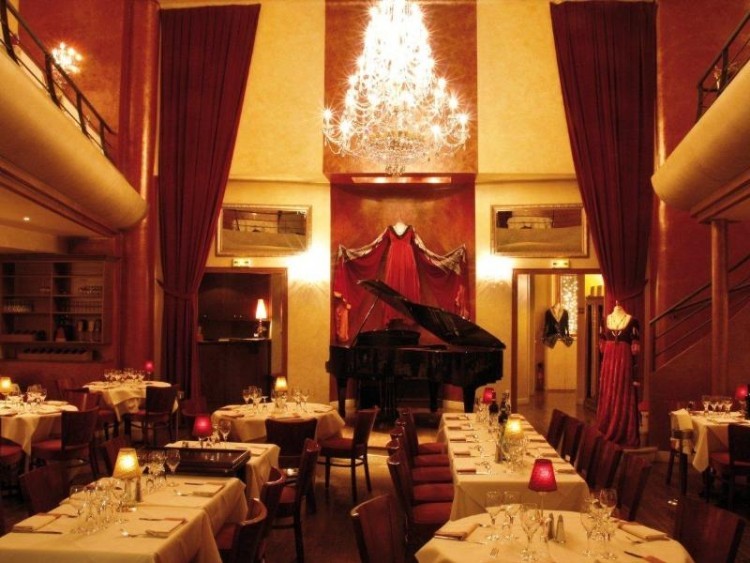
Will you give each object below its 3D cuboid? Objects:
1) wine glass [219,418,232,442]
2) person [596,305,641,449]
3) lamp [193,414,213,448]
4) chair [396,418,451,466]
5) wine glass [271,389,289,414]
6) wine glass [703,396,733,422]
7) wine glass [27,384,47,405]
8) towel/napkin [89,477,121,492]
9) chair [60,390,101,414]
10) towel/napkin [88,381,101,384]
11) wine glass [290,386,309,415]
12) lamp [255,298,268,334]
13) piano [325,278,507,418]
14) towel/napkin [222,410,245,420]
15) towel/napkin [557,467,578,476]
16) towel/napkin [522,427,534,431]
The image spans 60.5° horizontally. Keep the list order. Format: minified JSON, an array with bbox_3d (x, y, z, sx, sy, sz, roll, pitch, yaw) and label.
[{"bbox_3d":[-1.507,1.493,6.424,0.102,0.212,0.510,1,-12,-13],"label":"wine glass"},{"bbox_3d":[4.079,1.583,10.804,0.771,2.343,0.530,-6,-10,31],"label":"person"},{"bbox_3d":[-1.626,1.417,6.065,0.168,0.296,0.376,2,-11,-15],"label":"lamp"},{"bbox_3d":[0.518,1.819,7.346,0.481,0.873,0.489,-2,3,6],"label":"chair"},{"bbox_3d":[-1.167,1.536,8.142,0.222,0.394,0.239,2,-4,-2],"label":"wine glass"},{"bbox_3d":[4.259,1.595,7.983,0.326,0.129,0.263,-6,1,-6],"label":"wine glass"},{"bbox_3d":[-4.435,1.466,8.373,0.251,0.278,0.269,1,-1,-6],"label":"wine glass"},{"bbox_3d":[-2.024,1.542,4.817,0.194,0.051,0.212,4,-3,-4],"label":"towel/napkin"},{"bbox_3d":[-3.967,1.640,8.688,0.351,0.457,0.353,0,-3,16],"label":"chair"},{"bbox_3d":[-4.440,1.628,10.200,0.125,0.042,0.135,-1,4,6],"label":"towel/napkin"},{"bbox_3d":[-0.971,1.559,8.276,0.239,0.387,0.235,1,-6,4],"label":"wine glass"},{"bbox_3d":[-2.399,0.723,13.551,0.265,0.896,0.905,1,-10,-11],"label":"lamp"},{"bbox_3d":[0.713,1.103,10.973,2.886,2.634,1.912,0,-3,9],"label":"piano"},{"bbox_3d":[-1.718,1.630,7.779,0.177,0.051,0.201,2,-6,-24],"label":"towel/napkin"},{"bbox_3d":[1.688,1.691,5.665,0.186,0.048,0.130,-4,-12,14],"label":"towel/napkin"},{"bbox_3d":[1.726,1.684,7.237,0.100,0.027,0.100,-1,-5,15],"label":"towel/napkin"}]
